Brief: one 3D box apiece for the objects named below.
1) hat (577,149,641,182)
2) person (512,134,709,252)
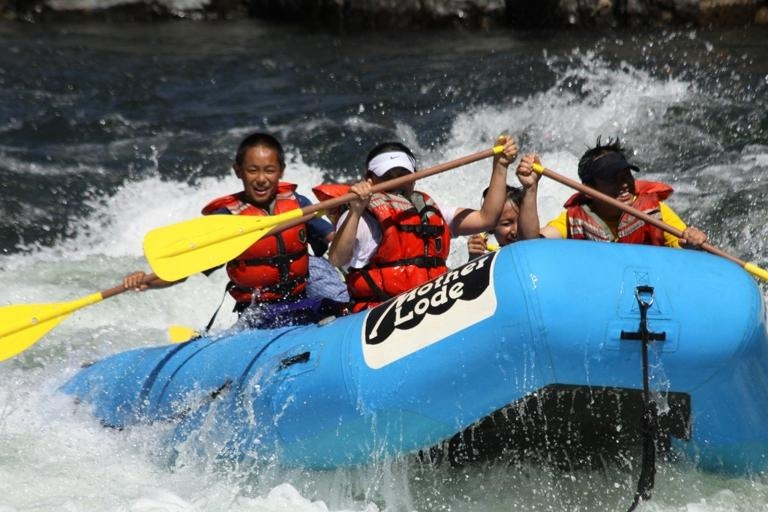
[{"bbox_3d":[1.807,-0.700,7.797,0.371,0.126,0.261,-14,5,46],"label":"hat"},{"bbox_3d":[1.858,-0.537,7.832,1.010,0.498,1.271,1,6,-18],"label":"person"}]
